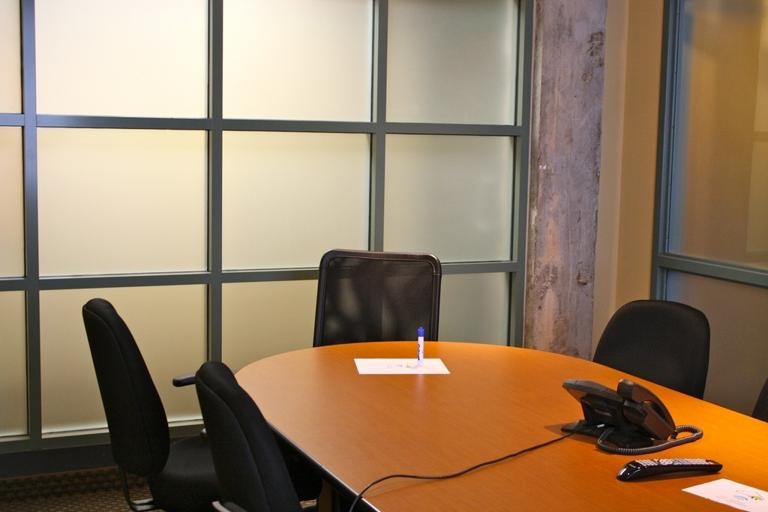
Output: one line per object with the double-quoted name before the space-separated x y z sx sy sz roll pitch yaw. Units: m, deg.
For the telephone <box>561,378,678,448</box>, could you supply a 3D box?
"telephone" 1.019 0.618 2.585 0.477 0.258 0.475 1 -4 -29
